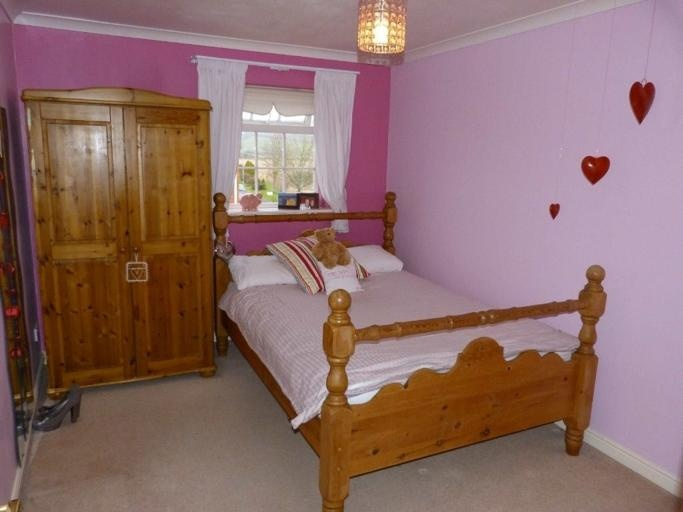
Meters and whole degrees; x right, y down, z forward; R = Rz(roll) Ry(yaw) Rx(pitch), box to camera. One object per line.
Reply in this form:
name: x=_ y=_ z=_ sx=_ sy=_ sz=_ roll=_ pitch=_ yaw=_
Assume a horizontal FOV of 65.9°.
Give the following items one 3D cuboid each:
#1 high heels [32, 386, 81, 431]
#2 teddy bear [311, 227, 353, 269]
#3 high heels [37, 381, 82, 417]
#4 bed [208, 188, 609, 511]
high heels: x=-2.023 y=1.100 z=3.746 sx=0.330 sy=0.232 sz=0.198 roll=-8 pitch=15 yaw=-31
teddy bear: x=-0.092 y=-0.069 z=4.607 sx=0.343 sy=0.367 sz=0.263 roll=-11 pitch=7 yaw=-29
high heels: x=-1.977 y=1.072 z=3.860 sx=0.210 sy=0.188 sz=0.366 roll=10 pitch=1 yaw=38
bed: x=0.441 y=0.615 z=3.921 sx=2.107 sy=1.421 sz=2.173 roll=-11 pitch=16 yaw=-31
